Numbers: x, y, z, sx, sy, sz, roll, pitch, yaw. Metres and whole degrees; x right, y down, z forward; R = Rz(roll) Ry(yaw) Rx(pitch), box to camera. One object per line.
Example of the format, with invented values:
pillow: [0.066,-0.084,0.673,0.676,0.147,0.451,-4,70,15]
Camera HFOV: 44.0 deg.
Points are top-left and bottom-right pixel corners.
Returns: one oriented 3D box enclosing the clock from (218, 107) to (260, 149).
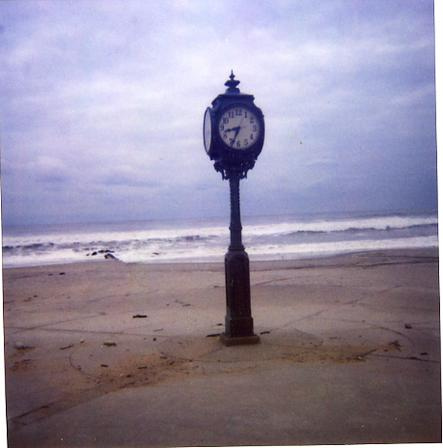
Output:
clock: [0.260,-1.419,8.116,0.589,0.144,0.585,3,-79,0]
